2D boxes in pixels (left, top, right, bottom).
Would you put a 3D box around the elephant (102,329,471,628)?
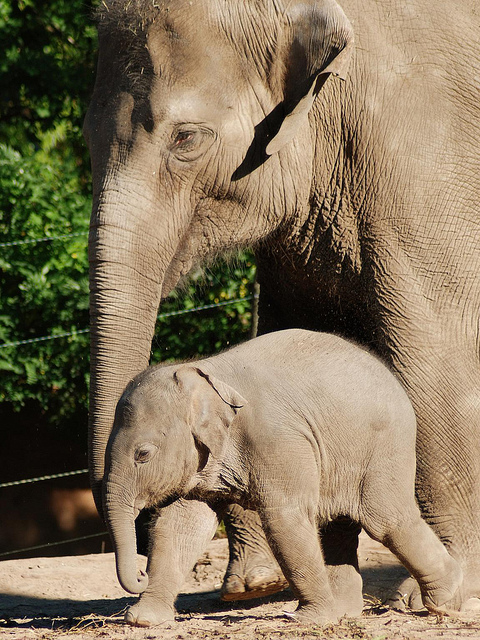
[{"bbox_3d":[-0.036,0.484,4.251,1.111,1.050,0.543,4,-13,-17],"label":"elephant"}]
